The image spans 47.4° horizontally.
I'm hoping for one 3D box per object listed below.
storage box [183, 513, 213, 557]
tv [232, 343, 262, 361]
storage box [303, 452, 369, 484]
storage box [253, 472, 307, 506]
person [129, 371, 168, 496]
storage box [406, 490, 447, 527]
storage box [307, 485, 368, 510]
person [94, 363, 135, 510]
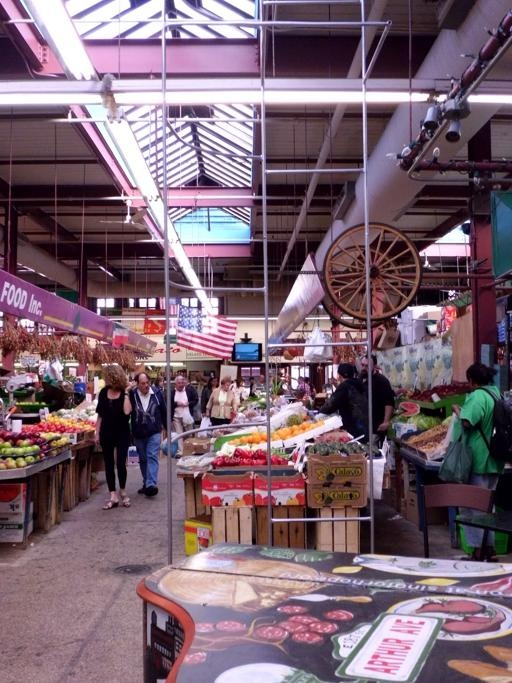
[{"bbox_3d":[-0.404,1.355,4.020,0.177,0.309,0.490,0,-3,-6],"label":"storage box"},{"bbox_3d":[-0.331,0.569,20.262,1.036,0.750,0.578,1,-6,0],"label":"tv"},{"bbox_3d":[0.542,0.834,3.869,0.388,0.180,0.212,-1,-3,10],"label":"storage box"},{"bbox_3d":[0.149,0.966,3.803,0.223,0.188,0.315,-1,-4,6],"label":"storage box"},{"bbox_3d":[-1.289,1.133,7.072,0.475,1.513,0.411,2,-4,-37],"label":"person"},{"bbox_3d":[1.696,1.529,5.804,0.292,0.387,0.532,0,-8,3],"label":"storage box"},{"bbox_3d":[0.521,1.012,3.807,0.388,0.161,0.063,-1,-3,1],"label":"storage box"},{"bbox_3d":[-1.662,1.095,6.784,0.388,1.632,0.667,0,-3,-15],"label":"person"}]
